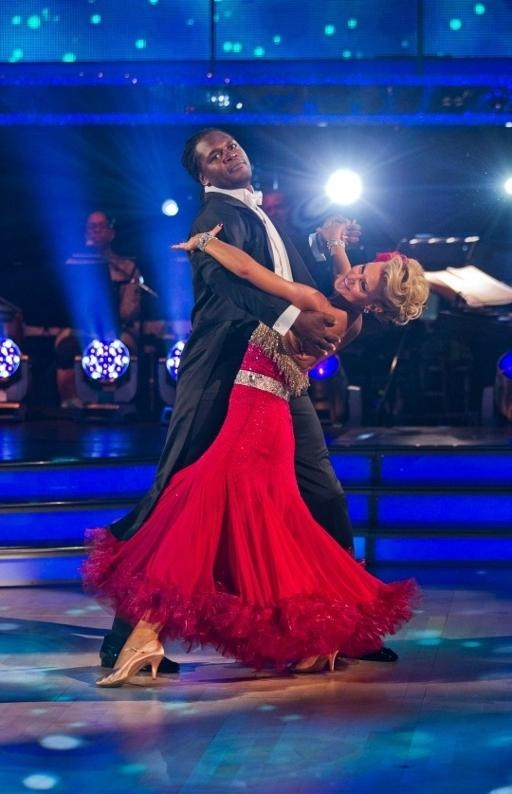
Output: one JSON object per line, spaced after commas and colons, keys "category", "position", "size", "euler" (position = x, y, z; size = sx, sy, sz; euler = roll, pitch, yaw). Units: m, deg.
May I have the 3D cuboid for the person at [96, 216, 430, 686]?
{"category": "person", "position": [0.016, 0.168, 2.051], "size": [1.007, 1.246, 0.439], "euler": [-7, 10, -13]}

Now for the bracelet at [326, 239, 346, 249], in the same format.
{"category": "bracelet", "position": [0.244, -0.468, 2.344], "size": [0.048, 0.024, 0.048], "euler": [0, 3, 4]}

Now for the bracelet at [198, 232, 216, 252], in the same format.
{"category": "bracelet", "position": [-0.124, -0.406, 2.031], "size": [0.027, 0.046, 0.038], "euler": [13, -7, 6]}

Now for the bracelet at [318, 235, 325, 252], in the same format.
{"category": "bracelet", "position": [0.206, -0.484, 2.408], "size": [0.012, 0.042, 0.040], "euler": [-13, 37, -7]}
